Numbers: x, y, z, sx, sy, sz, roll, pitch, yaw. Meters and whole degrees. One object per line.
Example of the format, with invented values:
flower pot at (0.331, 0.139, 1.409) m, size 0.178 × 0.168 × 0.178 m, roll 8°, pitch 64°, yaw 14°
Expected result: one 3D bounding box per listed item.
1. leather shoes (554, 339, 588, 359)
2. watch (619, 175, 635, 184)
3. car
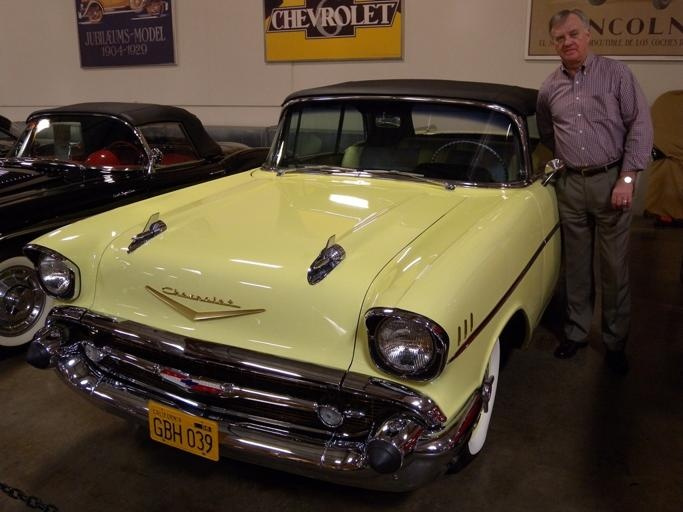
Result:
leather shoes at (1.574, 0.625, 3.191) m, size 0.267 × 0.122 × 0.097 m, roll -5°, pitch 8°, yaw -34°
watch at (1.670, -0.446, 2.695) m, size 0.046 × 0.051 × 0.015 m, roll 7°, pitch -1°, yaw 6°
car at (0.395, -0.034, 2.978) m, size 1.735 × 1.256 × 3.208 m, roll 7°, pitch 18°, yaw 29°
